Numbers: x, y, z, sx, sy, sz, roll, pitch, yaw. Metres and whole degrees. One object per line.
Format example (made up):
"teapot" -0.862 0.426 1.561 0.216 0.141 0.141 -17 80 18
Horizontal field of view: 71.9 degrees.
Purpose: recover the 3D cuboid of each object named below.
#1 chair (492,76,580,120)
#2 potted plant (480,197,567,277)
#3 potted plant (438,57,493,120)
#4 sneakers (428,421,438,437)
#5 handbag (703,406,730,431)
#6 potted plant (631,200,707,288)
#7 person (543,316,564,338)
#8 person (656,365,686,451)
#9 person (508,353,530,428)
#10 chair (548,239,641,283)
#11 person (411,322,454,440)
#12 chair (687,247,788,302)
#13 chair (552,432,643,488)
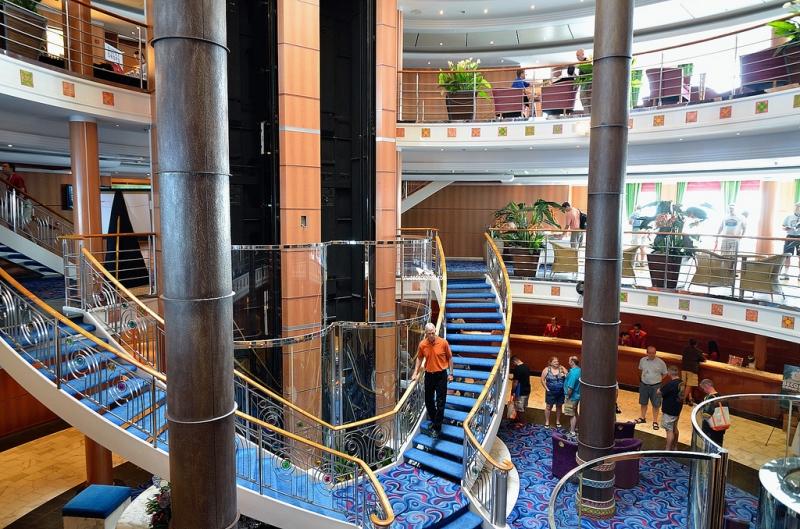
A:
"chair" 3.403 -4.227 13.914 1.352 0.818 1.061 2 13 15
"potted plant" 3.239 -0.772 14.457 2.087 1.887 1.951 1 -3 -17
"potted plant" 1.634 -4.579 14.370 1.183 1.697 1.066 0 8 1
"sneakers" 0.587 2.967 9.975 0.226 0.260 0.234 0 -1 24
"handbag" 3.994 1.931 7.059 0.318 0.306 0.270 -5 -2 -11
"potted plant" 6.205 -0.517 12.913 1.254 1.952 1.767 2 9 20
"person" 4.107 1.629 14.901 0.402 0.553 0.709 2 9 16
"person" 5.159 2.898 10.677 0.354 1.440 0.617 6 11 38
"person" 2.603 2.795 12.061 0.381 1.548 0.698 1 9 11
"chair" 4.679 -0.072 13.555 1.655 0.870 1.237 4 8 31
"person" 0.547 2.038 9.692 0.648 2.160 0.451 -3 9 -14
"chair" 7.122 0.163 11.787 1.693 0.945 0.780 6 10 36
"chair" 3.215 3.220 9.284 1.475 0.957 1.344 -1 6 12
